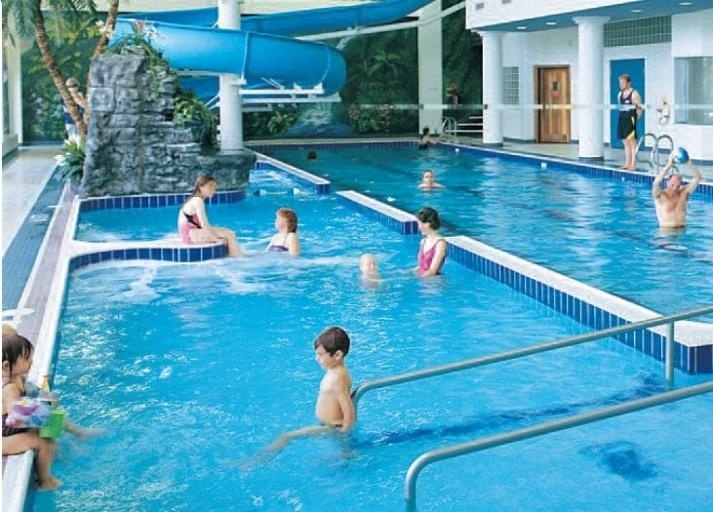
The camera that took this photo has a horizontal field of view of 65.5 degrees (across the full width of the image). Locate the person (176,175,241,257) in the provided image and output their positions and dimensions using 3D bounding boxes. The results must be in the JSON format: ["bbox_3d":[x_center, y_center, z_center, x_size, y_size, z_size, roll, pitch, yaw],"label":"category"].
[{"bbox_3d":[-1.981,-0.449,7.661,0.948,1.281,0.534,-4,17,-11],"label":"person"}]

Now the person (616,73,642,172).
[{"bbox_3d":[6.296,-3.089,12.917,0.501,2.169,1.232,5,15,24],"label":"person"}]

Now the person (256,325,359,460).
[{"bbox_3d":[-0.330,0.869,3.497,0.677,0.792,0.350,-2,-2,-1],"label":"person"}]

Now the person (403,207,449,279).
[{"bbox_3d":[0.860,-0.164,6.607,0.378,0.881,0.861,0,13,7],"label":"person"}]

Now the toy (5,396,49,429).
[{"bbox_3d":[-1.647,0.795,2.800,0.197,0.094,0.146,-4,23,-33],"label":"toy"}]

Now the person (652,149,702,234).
[{"bbox_3d":[4.663,-0.925,8.129,0.559,1.166,1.817,7,15,30],"label":"person"}]
